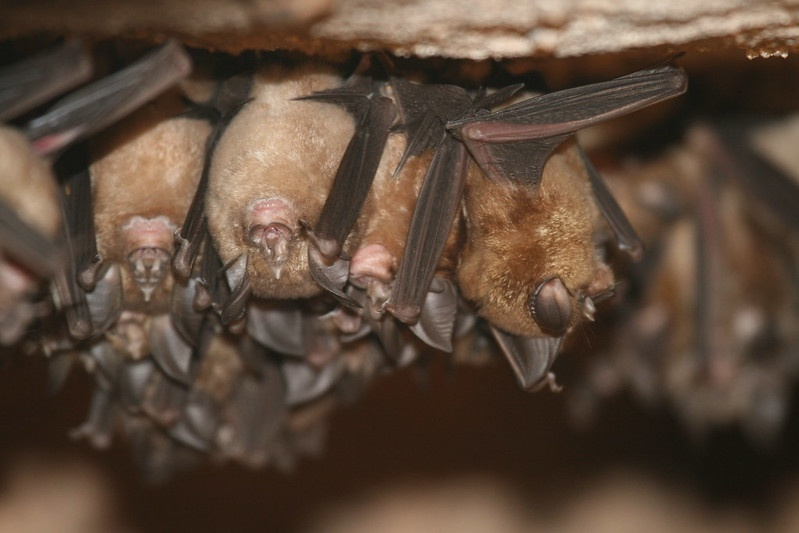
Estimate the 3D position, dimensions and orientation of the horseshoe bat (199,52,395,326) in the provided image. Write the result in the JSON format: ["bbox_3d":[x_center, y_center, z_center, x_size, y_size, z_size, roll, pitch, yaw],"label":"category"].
[{"bbox_3d":[-0.528,-0.349,4.252,0.705,0.741,0.830,-5,44,2],"label":"horseshoe bat"}]
